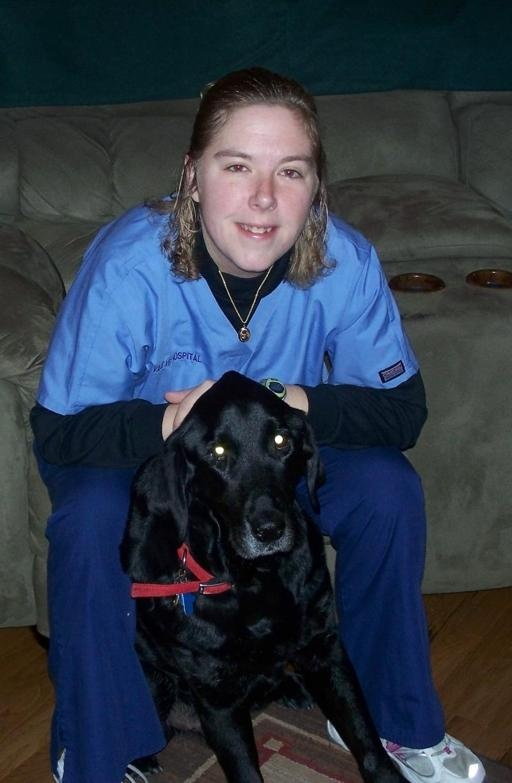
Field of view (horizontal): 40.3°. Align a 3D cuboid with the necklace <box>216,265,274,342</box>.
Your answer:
[{"bbox_3d":[-0.027,-0.192,1.490,0.164,0.185,0.016,-4,13,-26],"label":"necklace"}]

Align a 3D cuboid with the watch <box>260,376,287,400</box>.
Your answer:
[{"bbox_3d":[0.041,-0.009,1.393,0.049,0.052,0.035,3,19,38],"label":"watch"}]
